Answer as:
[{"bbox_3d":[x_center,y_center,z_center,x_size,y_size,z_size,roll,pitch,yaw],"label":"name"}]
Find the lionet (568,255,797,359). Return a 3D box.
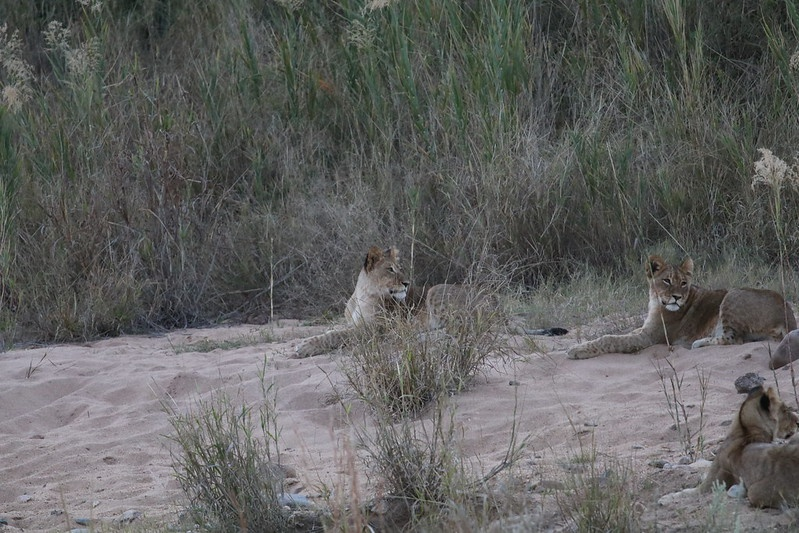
[{"bbox_3d":[2.992,0.417,9.505,1.993,0.886,0.934,-7,14,11],"label":"lionet"}]

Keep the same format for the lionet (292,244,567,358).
[{"bbox_3d":[0.101,0.421,10.078,2.465,1.158,2.045,3,19,39],"label":"lionet"}]
